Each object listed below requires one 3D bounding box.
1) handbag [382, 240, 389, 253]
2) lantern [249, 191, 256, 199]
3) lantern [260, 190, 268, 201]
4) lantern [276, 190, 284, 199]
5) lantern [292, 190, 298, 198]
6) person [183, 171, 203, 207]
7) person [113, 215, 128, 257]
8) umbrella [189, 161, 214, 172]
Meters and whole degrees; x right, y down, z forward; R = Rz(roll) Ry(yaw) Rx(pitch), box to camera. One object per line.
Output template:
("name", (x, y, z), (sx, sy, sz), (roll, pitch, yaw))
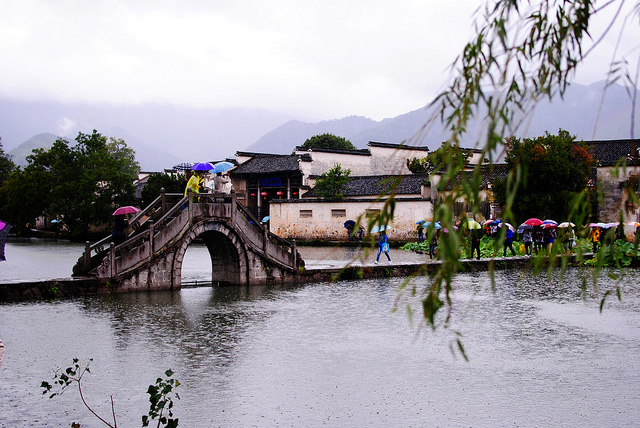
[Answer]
("handbag", (2.444, 1.197, 28.975), (0.123, 0.449, 0.392), (0, 6, -8))
("lantern", (-4.704, -1.300, 55.263), (0.489, 0.496, 0.498), (-1, 1, 35))
("lantern", (-3.757, -1.234, 53.803), (0.581, 0.792, 0.591), (1, 7, 32))
("lantern", (-2.619, -1.243, 51.923), (0.516, 0.571, 0.519), (0, 6, 4))
("lantern", (-1.466, -1.227, 50.172), (0.419, 0.446, 0.403), (-5, 10, -16))
("person", (-3.818, -0.832, 23.762), (0.492, 0.964, 0.883), (0, 6, -10))
("person", (-5.888, 0.487, 23.328), (0.475, 0.897, 0.720), (-1, 6, -14))
("umbrella", (-3.528, -1.419, 23.777), (0.547, 0.327, 1.647), (0, 6, -9))
